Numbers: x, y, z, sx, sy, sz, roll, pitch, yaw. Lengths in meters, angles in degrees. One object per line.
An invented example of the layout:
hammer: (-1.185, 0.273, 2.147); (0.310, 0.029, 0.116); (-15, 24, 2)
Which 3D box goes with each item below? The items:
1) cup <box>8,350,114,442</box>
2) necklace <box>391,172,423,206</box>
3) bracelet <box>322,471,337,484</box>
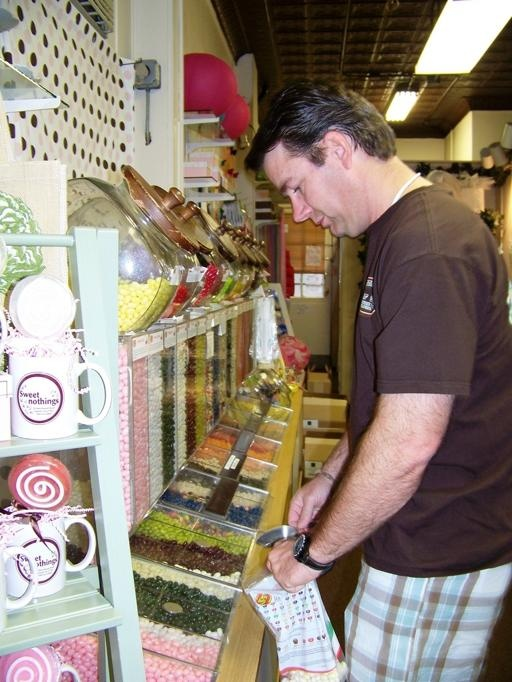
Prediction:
cup: (-0.210, 0.062, 0.523); (0.111, 0.085, 0.067); (6, -5, -33)
necklace: (0.327, -0.329, 1.131); (0.019, 0.069, 0.075); (-18, 50, -35)
bracelet: (0.207, 0.386, 1.478); (0.032, 0.031, 0.032); (-1, 3, -28)
